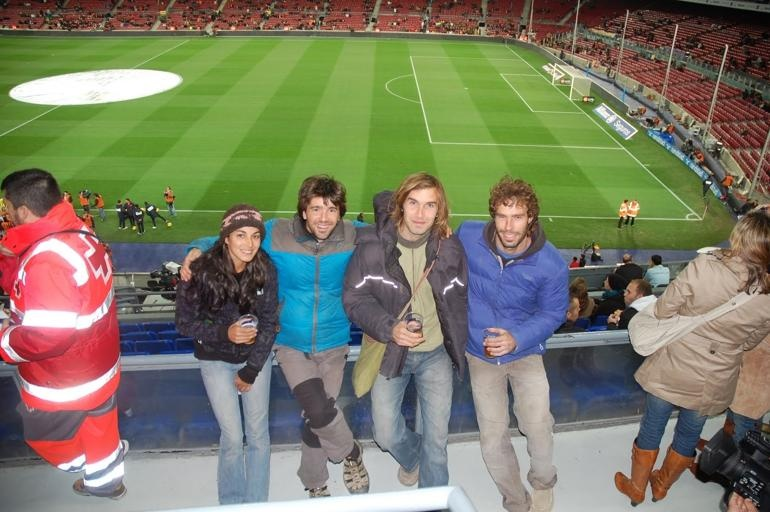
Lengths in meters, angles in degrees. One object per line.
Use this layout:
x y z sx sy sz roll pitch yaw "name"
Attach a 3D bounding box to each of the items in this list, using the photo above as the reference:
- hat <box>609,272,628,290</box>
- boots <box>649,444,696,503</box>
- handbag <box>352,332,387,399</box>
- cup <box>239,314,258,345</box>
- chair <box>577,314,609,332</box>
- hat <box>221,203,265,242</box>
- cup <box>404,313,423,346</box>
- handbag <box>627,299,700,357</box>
4.975 0.534 11.002 0.345 0.253 0.666 2 12 24 "hat"
2.797 2.110 5.043 0.368 0.525 0.207 -2 11 4 "boots"
-0.162 1.119 5.096 0.339 0.727 0.313 -4 11 -6 "handbag"
-1.295 0.621 4.858 0.173 0.157 0.198 -6 11 -15 "cup"
3.272 1.052 8.098 0.312 0.323 0.401 3 -17 6 "chair"
-1.400 -0.317 4.968 0.350 0.295 0.358 -3 -1 -31 "hat"
0.275 0.677 4.947 0.174 0.245 0.351 -2 11 4 "cup"
2.740 0.714 5.039 0.559 0.470 0.217 -33 -31 21 "handbag"
